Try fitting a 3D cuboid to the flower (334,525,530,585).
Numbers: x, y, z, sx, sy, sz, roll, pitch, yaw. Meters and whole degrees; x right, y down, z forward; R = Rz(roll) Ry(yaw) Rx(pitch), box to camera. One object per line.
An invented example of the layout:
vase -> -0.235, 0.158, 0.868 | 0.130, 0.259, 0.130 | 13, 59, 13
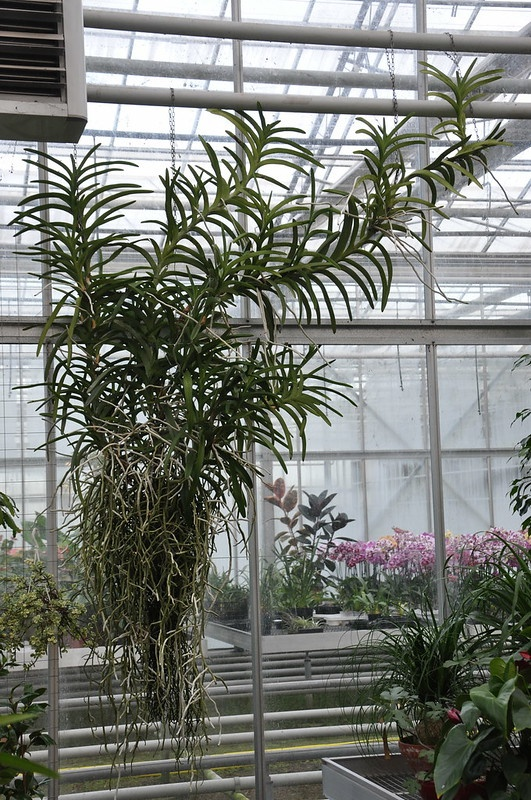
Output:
flower -> 0.618, 0.612, 3.414 | 0.561, 0.224, 0.406 | -2, -5, -10
